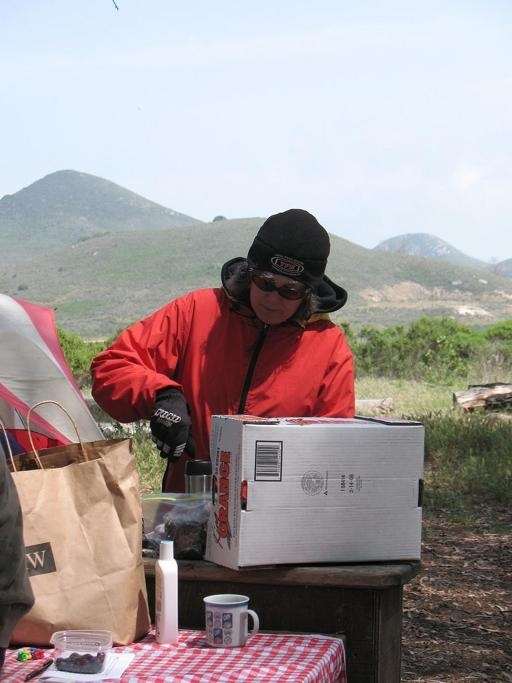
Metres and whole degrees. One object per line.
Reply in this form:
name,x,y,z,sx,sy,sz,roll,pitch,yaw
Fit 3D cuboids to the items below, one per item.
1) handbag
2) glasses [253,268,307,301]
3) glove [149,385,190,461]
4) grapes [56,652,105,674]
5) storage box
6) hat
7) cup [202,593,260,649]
handbag,-0.351,0.420,1.369,0.295,0.477,0.135,4,-1,-13
glasses,0.076,-0.187,2.231,0.189,0.093,0.085,3,-1,1
glove,-0.245,0.223,1.861,0.077,0.173,0.139,4,8,-27
grapes,-0.333,0.584,1.235,0.054,0.016,0.049,4,-4,4
storage box,0.098,0.354,1.802,0.683,0.310,0.438,2,0,-15
hat,0.078,-0.283,2.341,0.458,0.320,0.408,3,-2,11
cup,-0.042,0.593,1.430,0.131,0.081,0.084,-3,-8,37
